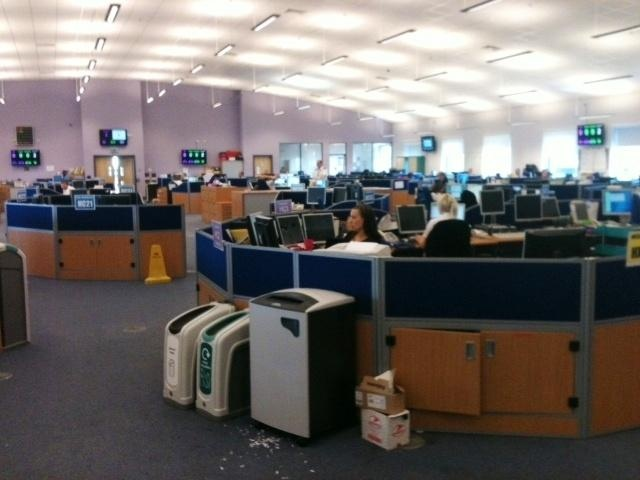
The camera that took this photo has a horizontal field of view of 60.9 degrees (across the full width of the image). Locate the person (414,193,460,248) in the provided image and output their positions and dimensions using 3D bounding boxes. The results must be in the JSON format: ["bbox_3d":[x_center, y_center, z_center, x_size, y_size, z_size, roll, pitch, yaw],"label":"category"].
[{"bbox_3d":[1.316,-0.204,6.212,0.437,0.627,1.297,2,12,10],"label":"person"}]

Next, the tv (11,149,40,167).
[{"bbox_3d":[-11.151,-3.087,20.677,1.122,0.610,0.702,-2,3,-17],"label":"tv"}]

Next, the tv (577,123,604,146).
[{"bbox_3d":[8.478,-3.311,17.055,0.243,0.604,0.723,-4,5,-36],"label":"tv"}]

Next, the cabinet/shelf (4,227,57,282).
[{"bbox_3d":[-3.945,0.211,7.508,0.721,0.735,0.382,6,9,34],"label":"cabinet/shelf"}]

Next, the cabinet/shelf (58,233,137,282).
[{"bbox_3d":[-3.385,0.256,8.185,1.181,0.730,0.676,0,3,-1],"label":"cabinet/shelf"}]

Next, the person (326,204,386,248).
[{"bbox_3d":[0.404,-0.109,5.296,0.404,0.485,0.704,-7,13,-30],"label":"person"}]

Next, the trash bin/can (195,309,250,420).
[{"bbox_3d":[-0.752,0.970,4.240,0.440,0.733,0.300,-4,12,-18],"label":"trash bin/can"}]

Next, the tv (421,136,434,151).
[{"bbox_3d":[4.644,-4.180,23.536,0.300,0.570,0.583,-11,13,-34],"label":"tv"}]
